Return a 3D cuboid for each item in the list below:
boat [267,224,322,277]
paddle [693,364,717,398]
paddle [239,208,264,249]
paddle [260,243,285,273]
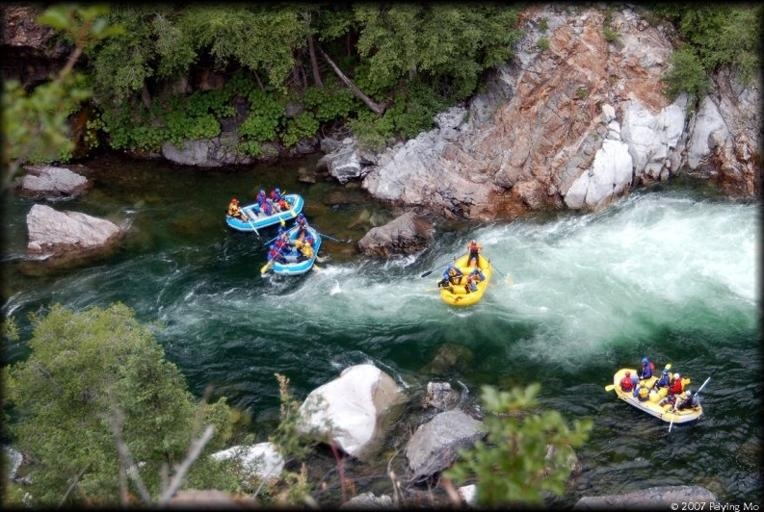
[{"bbox_3d":[-5.269,-0.221,40.949,2.184,0.823,4.094,3,53,10],"label":"boat"},{"bbox_3d":[17.023,6.646,32.453,2.963,0.332,0.136,-28,-16,-35],"label":"paddle"},{"bbox_3d":[-9.044,-1.857,42.654,0.549,3.185,0.682,-42,-7,-2],"label":"paddle"},{"bbox_3d":[-7.082,0.084,40.022,1.129,0.465,2.096,19,76,26],"label":"paddle"}]
